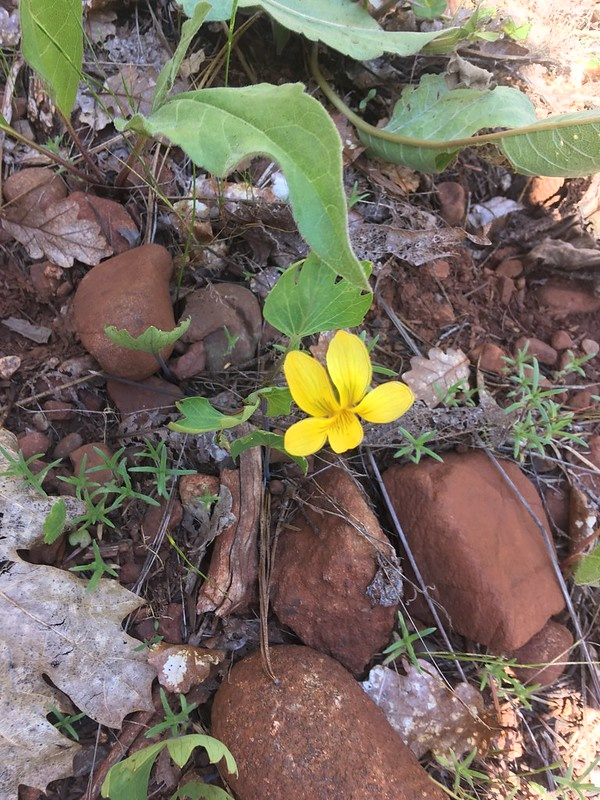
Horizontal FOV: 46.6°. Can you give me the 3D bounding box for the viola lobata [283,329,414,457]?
[{"bbox_3d":[0.086,-0.006,1.791,0.292,0.343,0.097,50,24,9],"label":"viola lobata"}]
